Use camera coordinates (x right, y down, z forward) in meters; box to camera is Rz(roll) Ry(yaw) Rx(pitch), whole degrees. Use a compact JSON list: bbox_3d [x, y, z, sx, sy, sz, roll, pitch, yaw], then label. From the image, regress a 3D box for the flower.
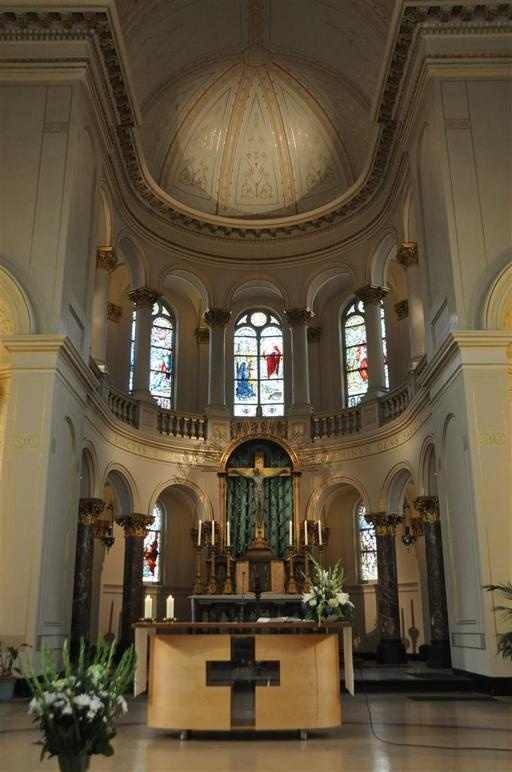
[{"bbox_3d":[0.620,1.880,5.193,0.410,0.462,0.866,-3,-18,4],"label":"flower"}]
